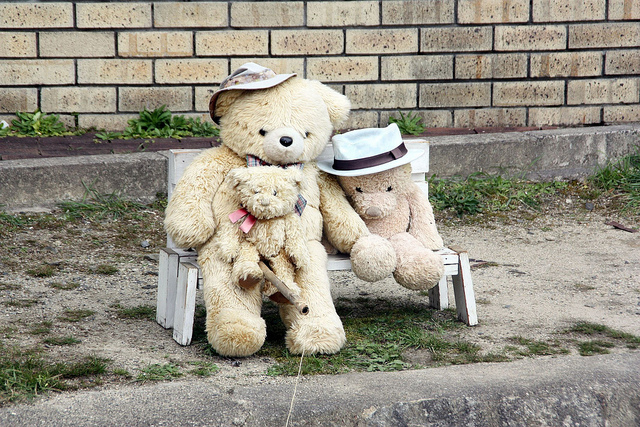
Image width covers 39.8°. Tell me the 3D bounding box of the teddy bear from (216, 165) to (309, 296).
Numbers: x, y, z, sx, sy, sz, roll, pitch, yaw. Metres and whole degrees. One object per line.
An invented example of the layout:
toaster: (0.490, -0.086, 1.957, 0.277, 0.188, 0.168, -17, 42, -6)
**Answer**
teddy bear: (-0.467, 0.139, 7.544, 0.718, 1.079, 0.721, 1, 0, -2)

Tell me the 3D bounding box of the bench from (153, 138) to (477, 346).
bench: (-0.093, 0.298, 7.563, 2.048, 1.072, 0.812, -2, 8, -24)

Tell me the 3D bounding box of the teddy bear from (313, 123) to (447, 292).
teddy bear: (0.540, -0.106, 7.758, 1.112, 1.190, 1.331, -10, 26, -7)
